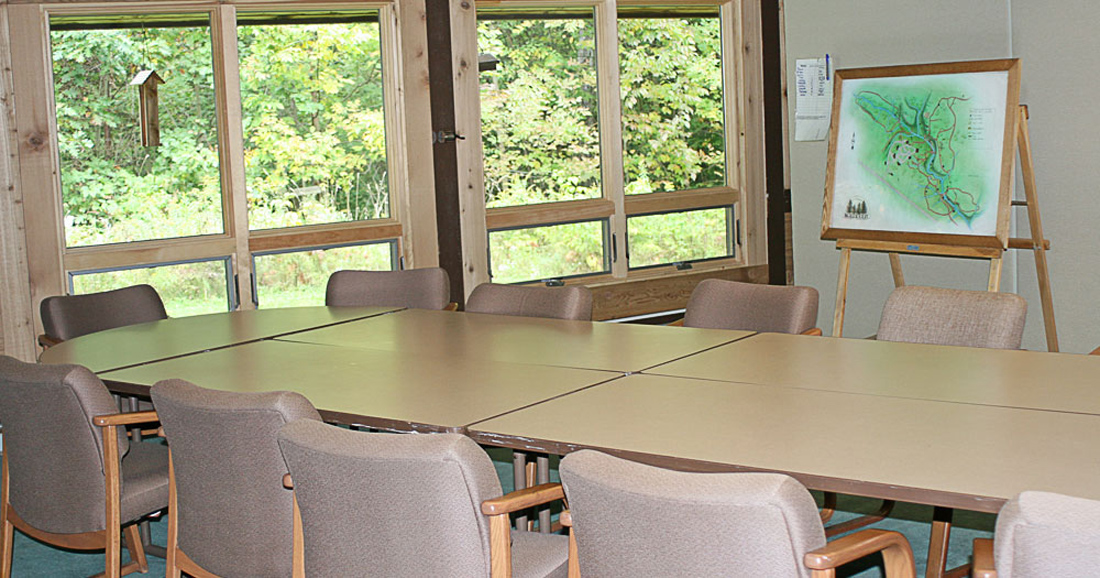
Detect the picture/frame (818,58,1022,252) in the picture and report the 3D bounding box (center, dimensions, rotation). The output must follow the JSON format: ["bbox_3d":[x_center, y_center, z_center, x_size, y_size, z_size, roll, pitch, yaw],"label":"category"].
[{"bbox_3d":[2.484,-0.912,5.633,0.073,1.228,1.465,-11,15,-25],"label":"picture/frame"}]
